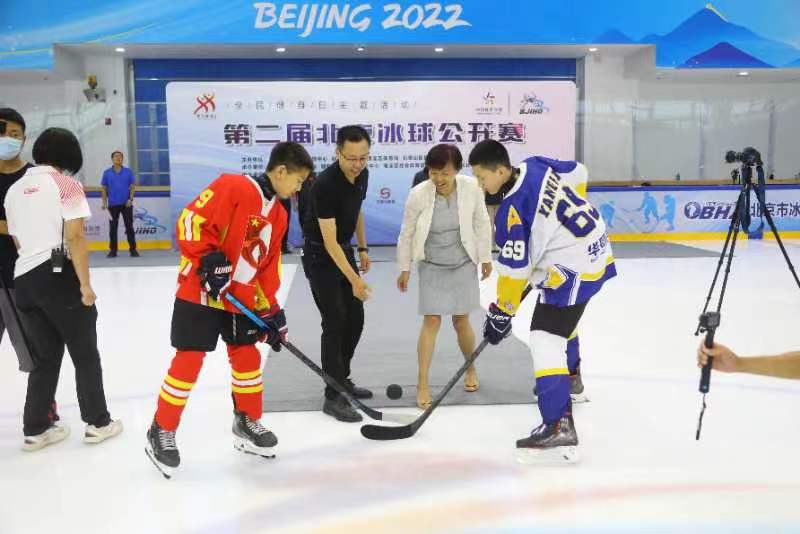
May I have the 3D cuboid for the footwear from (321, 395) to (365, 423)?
[{"bbox_3d":[-0.428,1.071,5.359,0.305,0.132,0.131,13,10,29],"label":"footwear"}]

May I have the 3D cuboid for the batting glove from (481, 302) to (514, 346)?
[{"bbox_3d":[0.673,0.408,4.973,0.233,0.434,0.324,0,15,9],"label":"batting glove"}]

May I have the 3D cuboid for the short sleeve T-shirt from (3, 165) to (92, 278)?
[{"bbox_3d":[-2.415,-0.303,4.857,0.712,0.821,0.324,2,11,6],"label":"short sleeve T-shirt"}]

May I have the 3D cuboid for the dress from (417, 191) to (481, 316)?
[{"bbox_3d":[0.395,-0.105,5.694,0.492,1.535,0.466,-2,-20,9],"label":"dress"}]

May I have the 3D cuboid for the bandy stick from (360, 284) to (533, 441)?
[{"bbox_3d":[0.384,0.805,5.754,1.417,0.162,0.239,-42,34,-21],"label":"bandy stick"}]

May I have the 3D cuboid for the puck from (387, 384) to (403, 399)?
[{"bbox_3d":[-0.039,0.951,5.427,0.113,0.118,0.063,13,4,1],"label":"puck"}]

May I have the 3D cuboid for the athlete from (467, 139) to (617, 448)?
[{"bbox_3d":[1.032,0.175,5.162,0.997,2.008,0.936,1,3,36],"label":"athlete"}]

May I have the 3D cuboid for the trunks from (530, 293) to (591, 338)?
[{"bbox_3d":[1.076,0.326,4.838,0.298,0.209,0.243,13,-3,5],"label":"trunks"}]

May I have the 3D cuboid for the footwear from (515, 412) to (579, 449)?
[{"bbox_3d":[1.009,1.155,4.949,0.470,0.325,0.175,2,-10,5],"label":"footwear"}]

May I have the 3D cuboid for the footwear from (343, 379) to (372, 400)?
[{"bbox_3d":[-0.320,0.970,5.615,0.267,0.121,0.104,2,7,6],"label":"footwear"}]

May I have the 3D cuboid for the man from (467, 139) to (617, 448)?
[{"bbox_3d":[1.015,0.148,5.180,0.988,2.018,0.960,1,4,33],"label":"man"}]

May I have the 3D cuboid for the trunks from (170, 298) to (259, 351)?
[{"bbox_3d":[-1.205,0.328,4.798,0.618,0.428,0.334,7,-4,-40],"label":"trunks"}]

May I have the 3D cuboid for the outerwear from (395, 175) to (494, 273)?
[{"bbox_3d":[0.367,-0.337,5.688,0.746,0.728,0.406,-1,4,-1],"label":"outerwear"}]

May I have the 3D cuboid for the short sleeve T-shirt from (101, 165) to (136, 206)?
[{"bbox_3d":[-4.658,-1.318,11.836,0.722,0.857,0.434,-2,7,-25],"label":"short sleeve T-shirt"}]

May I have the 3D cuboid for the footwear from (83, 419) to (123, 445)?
[{"bbox_3d":[-2.068,1.155,5.069,0.107,0.136,0.294,4,7,28],"label":"footwear"}]

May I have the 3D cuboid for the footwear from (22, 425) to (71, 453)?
[{"bbox_3d":[-2.445,1.194,5.024,0.117,0.153,0.334,10,14,30],"label":"footwear"}]

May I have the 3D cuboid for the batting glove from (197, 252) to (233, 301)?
[{"bbox_3d":[-1.163,0.065,4.485,0.201,0.279,0.118,5,-5,3],"label":"batting glove"}]

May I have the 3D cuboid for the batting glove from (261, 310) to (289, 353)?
[{"bbox_3d":[-0.834,0.427,4.835,0.094,0.243,0.234,-2,9,43],"label":"batting glove"}]

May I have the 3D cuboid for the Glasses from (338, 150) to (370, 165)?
[{"bbox_3d":[-0.339,-0.797,5.268,0.228,0.105,0.207,-2,10,-14],"label":"Glasses"}]

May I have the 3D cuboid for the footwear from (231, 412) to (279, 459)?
[{"bbox_3d":[-0.917,1.145,4.890,0.429,0.283,0.160,6,10,30],"label":"footwear"}]
